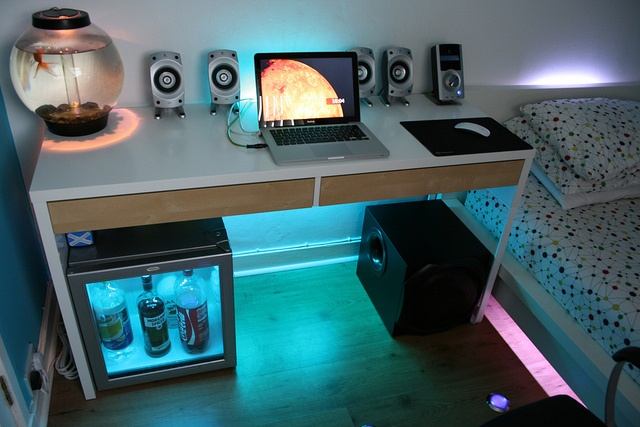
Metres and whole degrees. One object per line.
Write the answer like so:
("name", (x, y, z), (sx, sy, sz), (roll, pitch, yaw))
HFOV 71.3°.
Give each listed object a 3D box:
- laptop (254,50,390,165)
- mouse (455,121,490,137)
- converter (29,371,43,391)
("laptop", (-0.018, -0.424, 2.103), (0.630, 0.406, 0.569), (-8, 50, -12))
("mouse", (0.743, -0.421, 2.186), (0.157, 0.036, 0.073), (22, 43, 23))
("converter", (-1.217, 0.718, 1.924), (0.018, 0.070, 0.078), (-4, 5, 11))
